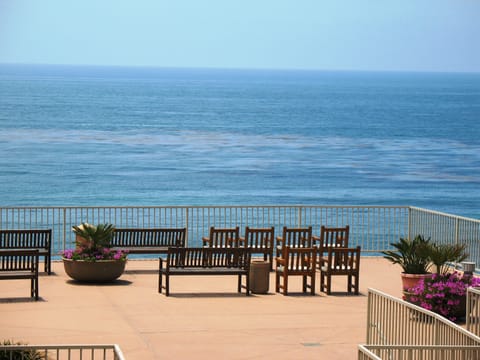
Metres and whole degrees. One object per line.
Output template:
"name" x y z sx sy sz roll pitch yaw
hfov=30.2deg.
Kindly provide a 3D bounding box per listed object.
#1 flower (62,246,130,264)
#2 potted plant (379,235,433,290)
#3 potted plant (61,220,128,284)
"flower" -3.653 1.876 22.428 1.561 0.341 0.523 2 5 -10
"potted plant" 4.059 1.972 21.575 1.446 1.121 1.385 0 -4 -3
"potted plant" -3.720 1.844 22.856 1.673 1.302 1.616 0 -1 26
